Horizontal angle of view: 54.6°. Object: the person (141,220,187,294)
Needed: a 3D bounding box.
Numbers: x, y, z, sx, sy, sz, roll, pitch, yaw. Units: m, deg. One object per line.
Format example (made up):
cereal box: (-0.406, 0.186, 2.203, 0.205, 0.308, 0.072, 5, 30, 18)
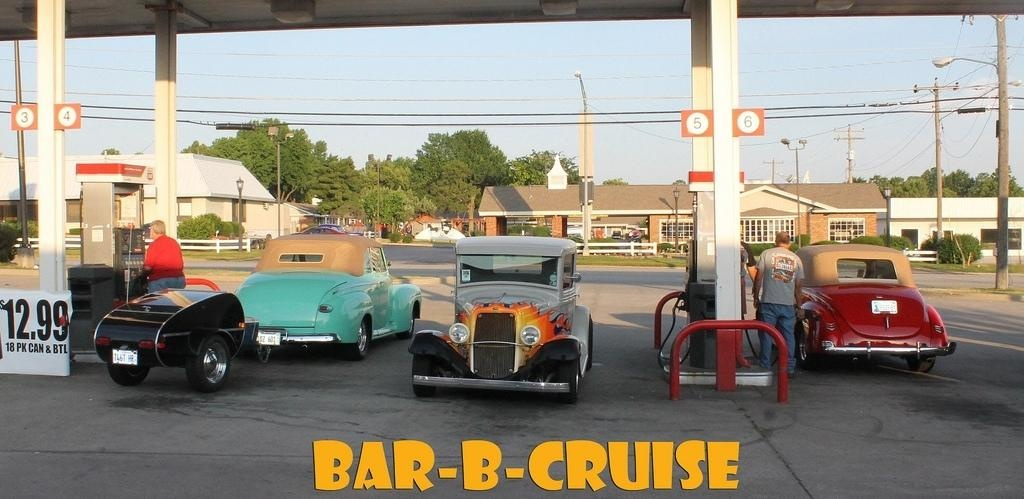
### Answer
person: (-10.467, 0.208, 29.753, 1.200, 2.103, 1.012, -1, 3, 3)
